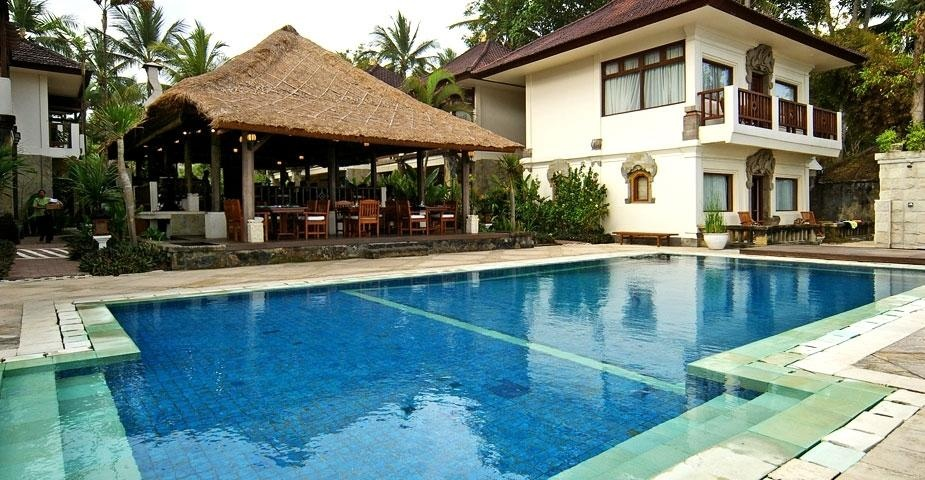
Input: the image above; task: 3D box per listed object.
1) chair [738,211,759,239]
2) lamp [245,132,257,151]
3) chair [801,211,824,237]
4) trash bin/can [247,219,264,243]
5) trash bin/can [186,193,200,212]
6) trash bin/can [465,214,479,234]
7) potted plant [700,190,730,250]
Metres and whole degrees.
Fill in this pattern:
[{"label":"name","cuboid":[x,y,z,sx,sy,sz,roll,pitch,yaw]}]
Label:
[{"label":"chair","cuboid":[12.175,-0.600,24.373,0.783,1.119,1.873,6,13,25]},{"label":"lamp","cuboid":[-7.223,-3.359,19.553,0.288,0.581,0.471,6,13,26]},{"label":"chair","cuboid":[16.198,-0.731,26.334,0.982,0.965,3.059,7,13,31]},{"label":"trash bin/can","cuboid":[-7.174,-0.335,19.730,0.484,0.803,0.311,-6,14,-26]},{"label":"trash bin/can","cuboid":[-11.202,-1.549,23.632,0.863,0.737,0.439,-2,-4,36]},{"label":"trash bin/can","cuboid":[0.531,-0.673,24.232,0.759,0.890,0.673,0,2,3]},{"label":"potted plant","cuboid":[10.565,-0.732,23.779,0.924,1.975,2.476,5,13,23]}]
